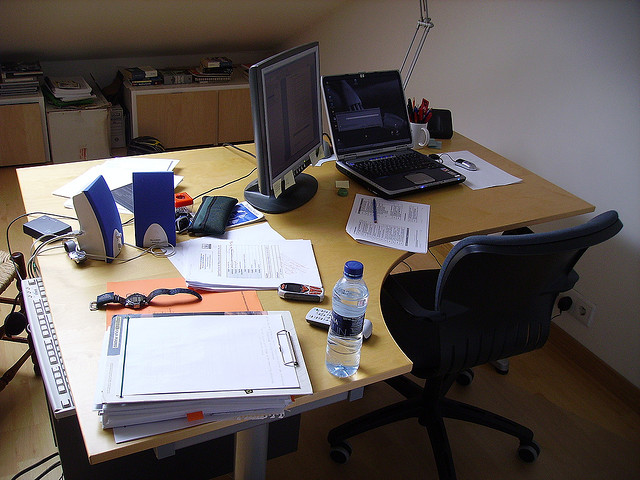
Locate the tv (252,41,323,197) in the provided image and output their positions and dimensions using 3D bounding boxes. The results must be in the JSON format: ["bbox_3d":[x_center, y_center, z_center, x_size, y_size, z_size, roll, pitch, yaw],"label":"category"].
[{"bbox_3d":[-0.119,-0.440,1.828,0.066,0.537,0.503,8,40,22],"label":"tv"}]

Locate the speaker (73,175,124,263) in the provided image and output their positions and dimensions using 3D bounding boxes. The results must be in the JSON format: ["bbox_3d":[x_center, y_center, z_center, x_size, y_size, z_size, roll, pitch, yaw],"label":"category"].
[{"bbox_3d":[-0.724,-0.057,1.554,0.133,0.272,0.158,14,39,-2],"label":"speaker"}]

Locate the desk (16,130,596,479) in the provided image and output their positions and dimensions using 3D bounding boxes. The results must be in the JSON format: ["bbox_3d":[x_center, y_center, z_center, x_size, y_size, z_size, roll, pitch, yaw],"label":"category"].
[{"bbox_3d":[-0.022,0.128,1.952,1.908,0.836,1.430,-14,24,-31],"label":"desk"}]

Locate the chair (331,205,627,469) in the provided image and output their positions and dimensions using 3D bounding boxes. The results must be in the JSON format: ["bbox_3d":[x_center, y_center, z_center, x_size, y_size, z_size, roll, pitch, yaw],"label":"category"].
[{"bbox_3d":[0.511,0.308,1.907,0.781,1.321,0.866,-4,28,-10],"label":"chair"}]

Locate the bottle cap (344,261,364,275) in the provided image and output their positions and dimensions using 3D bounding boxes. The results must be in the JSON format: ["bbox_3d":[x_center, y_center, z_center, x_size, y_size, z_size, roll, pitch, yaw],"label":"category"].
[{"bbox_3d":[0.086,0.068,1.207,0.042,0.025,0.050,3,20,10],"label":"bottle cap"}]

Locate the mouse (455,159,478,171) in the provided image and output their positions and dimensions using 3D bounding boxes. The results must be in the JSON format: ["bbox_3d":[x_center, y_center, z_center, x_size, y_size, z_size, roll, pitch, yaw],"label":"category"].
[{"bbox_3d":[0.695,-0.357,2.256,0.051,0.027,0.091,-21,38,-27],"label":"mouse"}]

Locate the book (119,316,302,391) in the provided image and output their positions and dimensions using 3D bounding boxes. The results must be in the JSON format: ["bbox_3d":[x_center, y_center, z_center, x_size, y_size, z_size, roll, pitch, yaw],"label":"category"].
[{"bbox_3d":[-0.293,0.291,1.214,0.337,0.072,0.217,2,43,-14],"label":"book"}]

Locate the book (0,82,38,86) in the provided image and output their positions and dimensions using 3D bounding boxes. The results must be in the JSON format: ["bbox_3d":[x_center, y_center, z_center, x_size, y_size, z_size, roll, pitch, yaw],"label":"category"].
[{"bbox_3d":[-2.129,-1.106,3.370,0.221,0.018,0.034,-15,24,-33],"label":"book"}]

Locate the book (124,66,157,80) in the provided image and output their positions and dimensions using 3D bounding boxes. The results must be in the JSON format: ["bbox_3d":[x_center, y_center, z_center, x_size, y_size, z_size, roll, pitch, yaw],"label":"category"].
[{"bbox_3d":[-1.444,-1.356,3.855,0.177,0.056,0.185,-10,34,-19],"label":"book"}]

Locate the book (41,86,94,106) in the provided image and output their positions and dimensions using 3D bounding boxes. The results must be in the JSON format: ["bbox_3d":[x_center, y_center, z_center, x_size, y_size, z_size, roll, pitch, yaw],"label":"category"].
[{"bbox_3d":[-1.971,-1.102,3.627,0.454,0.130,0.208,9,22,25],"label":"book"}]

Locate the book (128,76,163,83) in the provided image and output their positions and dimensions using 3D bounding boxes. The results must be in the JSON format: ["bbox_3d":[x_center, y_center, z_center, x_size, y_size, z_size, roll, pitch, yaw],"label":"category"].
[{"bbox_3d":[-1.403,-1.306,3.861,0.249,0.045,0.052,-14,24,-32],"label":"book"}]

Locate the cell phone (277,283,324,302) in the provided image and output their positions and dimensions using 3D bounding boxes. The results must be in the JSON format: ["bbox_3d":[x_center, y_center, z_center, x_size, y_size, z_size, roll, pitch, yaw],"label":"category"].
[{"bbox_3d":[-0.060,0.159,1.449,0.120,0.033,0.060,3,32,-1],"label":"cell phone"}]

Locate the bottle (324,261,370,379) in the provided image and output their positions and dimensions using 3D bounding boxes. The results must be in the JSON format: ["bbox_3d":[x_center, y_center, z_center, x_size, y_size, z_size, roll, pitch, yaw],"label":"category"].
[{"bbox_3d":[0.067,0.230,1.266,0.109,0.237,0.132,2,19,6],"label":"bottle"}]

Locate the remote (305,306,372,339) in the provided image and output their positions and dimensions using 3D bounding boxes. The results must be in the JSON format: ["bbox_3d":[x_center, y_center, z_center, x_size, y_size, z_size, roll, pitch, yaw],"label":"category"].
[{"bbox_3d":[0.054,0.226,1.361,0.176,0.044,0.082,19,33,21],"label":"remote"}]

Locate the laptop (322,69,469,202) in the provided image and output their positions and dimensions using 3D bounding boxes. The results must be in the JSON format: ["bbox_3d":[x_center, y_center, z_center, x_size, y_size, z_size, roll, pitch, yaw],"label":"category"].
[{"bbox_3d":[0.259,-0.482,2.155,0.569,0.493,0.660,-19,46,-27],"label":"laptop"}]

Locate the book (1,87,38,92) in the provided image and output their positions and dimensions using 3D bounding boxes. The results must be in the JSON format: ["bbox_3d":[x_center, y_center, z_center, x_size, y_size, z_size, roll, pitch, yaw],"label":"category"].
[{"bbox_3d":[-2.137,-1.070,3.381,0.215,0.027,0.026,-8,21,-20],"label":"book"}]

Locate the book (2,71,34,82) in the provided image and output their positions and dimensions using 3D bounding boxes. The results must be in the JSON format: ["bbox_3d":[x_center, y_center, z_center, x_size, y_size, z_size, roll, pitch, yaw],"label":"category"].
[{"bbox_3d":[-2.131,-1.153,3.365,0.186,0.064,0.030,-13,23,-31],"label":"book"}]
